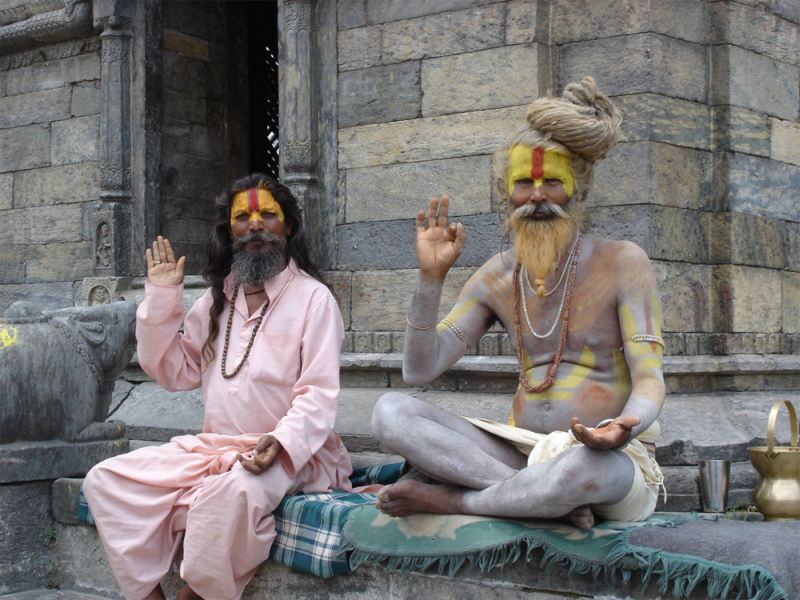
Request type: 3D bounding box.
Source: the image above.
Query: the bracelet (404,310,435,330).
[{"bbox_3d":[0.093,0.098,4.754,0.093,0.086,0.022,4,43,9],"label":"bracelet"}]

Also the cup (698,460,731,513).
[{"bbox_3d":[1.483,0.872,5.307,0.130,0.252,0.193,1,-3,13],"label":"cup"}]

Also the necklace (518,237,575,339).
[{"bbox_3d":[0.609,-0.063,4.753,0.242,0.410,0.078,3,4,30],"label":"necklace"}]

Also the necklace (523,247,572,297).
[{"bbox_3d":[0.625,-0.125,4.802,0.177,0.214,0.060,1,5,15],"label":"necklace"}]
